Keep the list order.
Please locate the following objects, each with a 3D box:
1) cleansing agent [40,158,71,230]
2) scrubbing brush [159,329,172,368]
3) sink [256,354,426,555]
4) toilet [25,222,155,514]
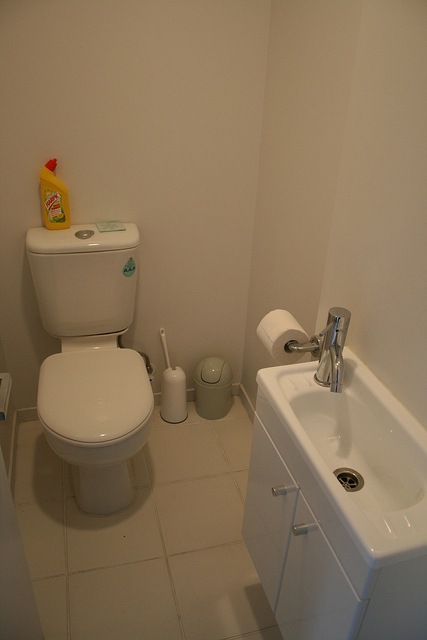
[{"bbox_3d":[-0.503,-0.397,1.517,0.078,0.214,0.050,-7,28,-21],"label":"cleansing agent"},{"bbox_3d":[-0.195,0.106,1.906,0.045,0.190,0.111,0,28,-7],"label":"scrubbing brush"},{"bbox_3d":[0.247,0.232,0.926,0.188,0.129,0.463,-8,36,-6],"label":"sink"},{"bbox_3d":[-0.372,0.190,1.538,0.357,0.810,0.648,-5,29,-18],"label":"toilet"}]
